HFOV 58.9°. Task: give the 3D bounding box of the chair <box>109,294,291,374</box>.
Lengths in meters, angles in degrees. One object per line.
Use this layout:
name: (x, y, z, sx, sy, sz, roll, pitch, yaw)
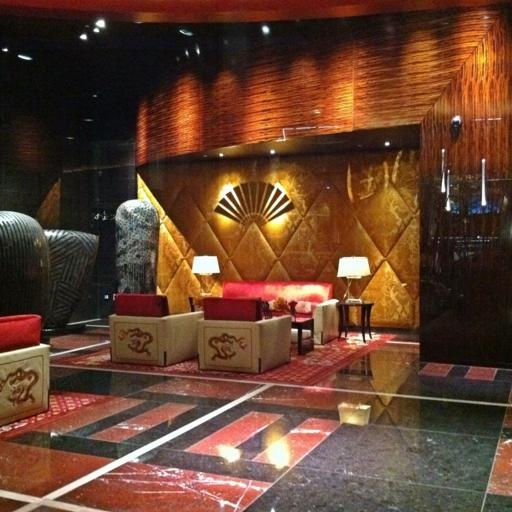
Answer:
chair: (-0.665, 0.838, 5.129, 1.852, 0.824, 0.626, 0, 3, 20)
